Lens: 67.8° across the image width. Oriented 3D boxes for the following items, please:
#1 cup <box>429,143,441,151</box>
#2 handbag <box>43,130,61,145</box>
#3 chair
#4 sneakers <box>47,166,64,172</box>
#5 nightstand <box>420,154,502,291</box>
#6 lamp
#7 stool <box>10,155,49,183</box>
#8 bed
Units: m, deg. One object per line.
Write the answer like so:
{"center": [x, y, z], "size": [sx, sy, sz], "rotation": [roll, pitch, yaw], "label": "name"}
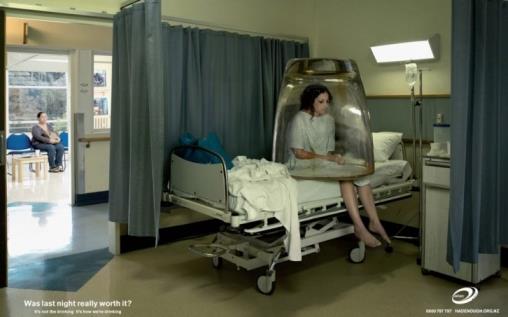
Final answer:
{"center": [1.901, -0.129, 4.005], "size": [0.056, 0.075, 0.114], "rotation": [-6, 16, -20], "label": "cup"}
{"center": [-4.227, -0.449, 7.983], "size": [0.297, 0.273, 0.107], "rotation": [3, -16, -45], "label": "handbag"}
{"center": [-4.526, -0.127, 7.925], "size": [1.088, 0.663, 0.409], "rotation": [-2, 4, -35], "label": "chair"}
{"center": [-4.347, 0.245, 8.354], "size": [0.369, 0.141, 0.114], "rotation": [-2, 4, 15], "label": "sneakers"}
{"center": [2.095, 0.648, 3.901], "size": [0.797, 1.262, 0.354], "rotation": [6, 16, 21], "label": "nightstand"}
{"center": [1.756, -1.283, 4.406], "size": [0.763, 0.305, 0.282], "rotation": [4, 15, 14], "label": "lamp"}
{"center": [-4.580, 0.137, 7.708], "size": [0.696, 0.519, 0.668], "rotation": [-2, 4, -28], "label": "stool"}
{"center": [0.490, 0.543, 4.403], "size": [2.623, 1.298, 1.392], "rotation": [-4, 6, -36], "label": "bed"}
